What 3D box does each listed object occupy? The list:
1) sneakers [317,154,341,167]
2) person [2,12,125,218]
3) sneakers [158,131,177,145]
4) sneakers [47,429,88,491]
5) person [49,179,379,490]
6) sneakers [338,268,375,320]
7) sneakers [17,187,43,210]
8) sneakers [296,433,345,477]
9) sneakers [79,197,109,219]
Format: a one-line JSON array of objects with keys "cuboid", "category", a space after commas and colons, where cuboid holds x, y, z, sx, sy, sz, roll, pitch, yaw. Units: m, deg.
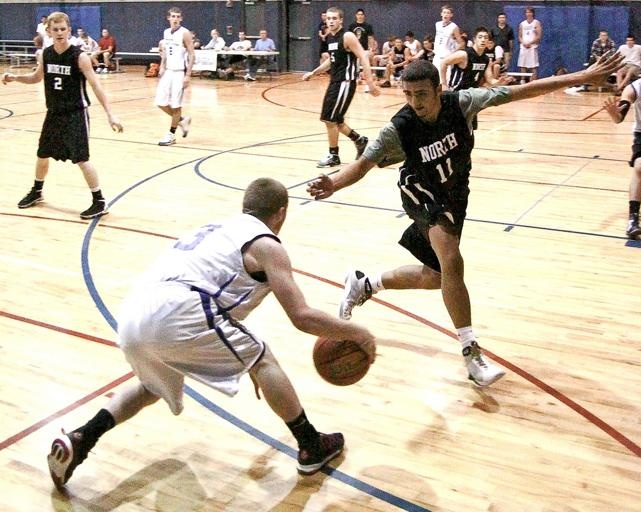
[{"cuboid": [0.146, -1.433, 8.398, 0.453, 0.162, 0.146, -6, 10, -31], "category": "sneakers"}, {"cuboid": [-2.788, -1.523, 6.191, 1.104, 2.142, 0.617, 12, 21, 38], "category": "person"}, {"cuboid": [-2.665, -2.068, 9.824, 0.164, 0.158, 0.395, 15, 27, 22], "category": "sneakers"}, {"cuboid": [-1.068, 0.854, 2.439, 0.197, 0.228, 0.151, 26, 28, 33], "category": "sneakers"}, {"cuboid": [-0.482, 0.298, 2.601, 1.677, 1.146, 0.724, 0, 9, -9], "category": "person"}, {"cuboid": [0.276, 0.256, 4.032, 0.235, 0.417, 0.154, 15, -13, 18], "category": "sneakers"}, {"cuboid": [-3.354, -0.698, 6.574, 0.143, 0.154, 0.393, 19, 38, 17], "category": "sneakers"}, {"cuboid": [-0.003, 0.901, 2.633, 0.120, 0.122, 0.316, 4, 12, 35], "category": "sneakers"}, {"cuboid": [-2.560, -0.513, 6.204, 0.143, 0.154, 0.392, 3, 11, 29], "category": "sneakers"}]
